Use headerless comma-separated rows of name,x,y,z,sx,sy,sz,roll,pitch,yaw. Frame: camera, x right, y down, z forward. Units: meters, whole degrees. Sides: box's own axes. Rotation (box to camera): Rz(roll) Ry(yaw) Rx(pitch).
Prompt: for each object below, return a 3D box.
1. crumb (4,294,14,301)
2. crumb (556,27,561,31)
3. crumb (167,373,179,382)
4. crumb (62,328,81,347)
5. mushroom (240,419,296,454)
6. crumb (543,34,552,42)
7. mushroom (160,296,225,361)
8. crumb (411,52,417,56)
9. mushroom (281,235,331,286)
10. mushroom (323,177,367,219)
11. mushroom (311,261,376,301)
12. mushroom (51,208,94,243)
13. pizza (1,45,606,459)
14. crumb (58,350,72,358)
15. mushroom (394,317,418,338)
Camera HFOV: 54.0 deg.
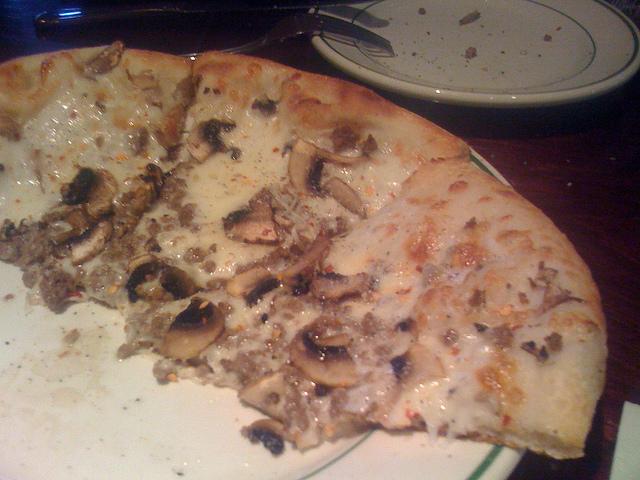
crumb,-0.503,0.092,1.012,0.009,0.002,0.010,22,39,16
crumb,0.486,-0.430,1.279,0.007,0.002,0.010,13,53,31
crumb,-0.220,0.205,0.941,0.012,0.004,0.011,35,54,12
crumb,-0.389,0.152,0.984,0.019,0.006,0.025,22,49,14
mushroom,-0.075,0.278,0.894,0.067,0.013,0.038,25,50,18
crumb,0.458,-0.407,1.266,0.016,0.011,0.014,3,17,-14
mushroom,-0.196,0.136,0.973,0.089,0.021,0.086,21,60,15
crumb,0.186,-0.368,1.244,0.009,0.001,0.007,5,45,7
mushroom,-0.024,0.032,1.029,0.101,0.020,0.072,-27,57,-10
mushroom,0.044,-0.072,1.065,0.092,0.018,0.038,41,88,4
mushroom,0.037,0.056,0.985,0.090,0.020,0.043,-14,66,-8
mushroom,-0.409,-0.025,1.044,0.049,0.012,0.069,42,80,-4
pizza,-0.056,-0.022,0.970,0.951,0.259,0.640,1,57,5
crumb,-0.392,0.174,0.966,0.015,0.003,0.008,-22,51,-21
mushroom,0.135,0.132,0.965,0.034,0.010,0.032,-40,56,2
